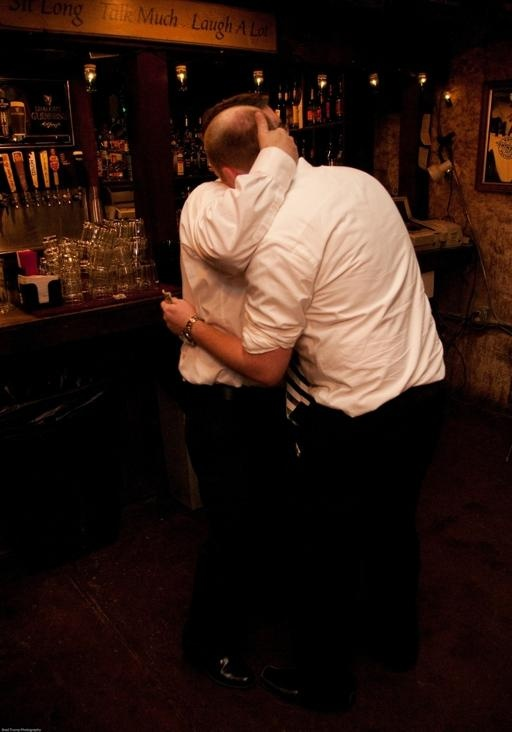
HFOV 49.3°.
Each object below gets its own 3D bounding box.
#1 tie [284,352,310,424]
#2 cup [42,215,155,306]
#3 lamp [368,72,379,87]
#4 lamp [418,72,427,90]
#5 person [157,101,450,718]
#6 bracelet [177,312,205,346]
[{"bbox_3d":[0.101,0.055,1.396,0.033,0.145,0.100,0,26,-24],"label":"tie"},{"bbox_3d":[-0.749,-0.512,2.778,0.511,0.371,0.388,-9,12,-37],"label":"cup"},{"bbox_3d":[0.794,-1.916,3.729,0.053,0.080,0.051,9,24,28],"label":"lamp"},{"bbox_3d":[1.055,-1.806,3.514,0.048,0.053,0.080,8,-15,5],"label":"lamp"},{"bbox_3d":[0.136,0.154,1.538,0.651,1.537,0.649,-5,18,-10],"label":"person"},{"bbox_3d":[-0.168,-0.089,1.426,0.027,0.079,0.059,23,41,22],"label":"bracelet"}]
